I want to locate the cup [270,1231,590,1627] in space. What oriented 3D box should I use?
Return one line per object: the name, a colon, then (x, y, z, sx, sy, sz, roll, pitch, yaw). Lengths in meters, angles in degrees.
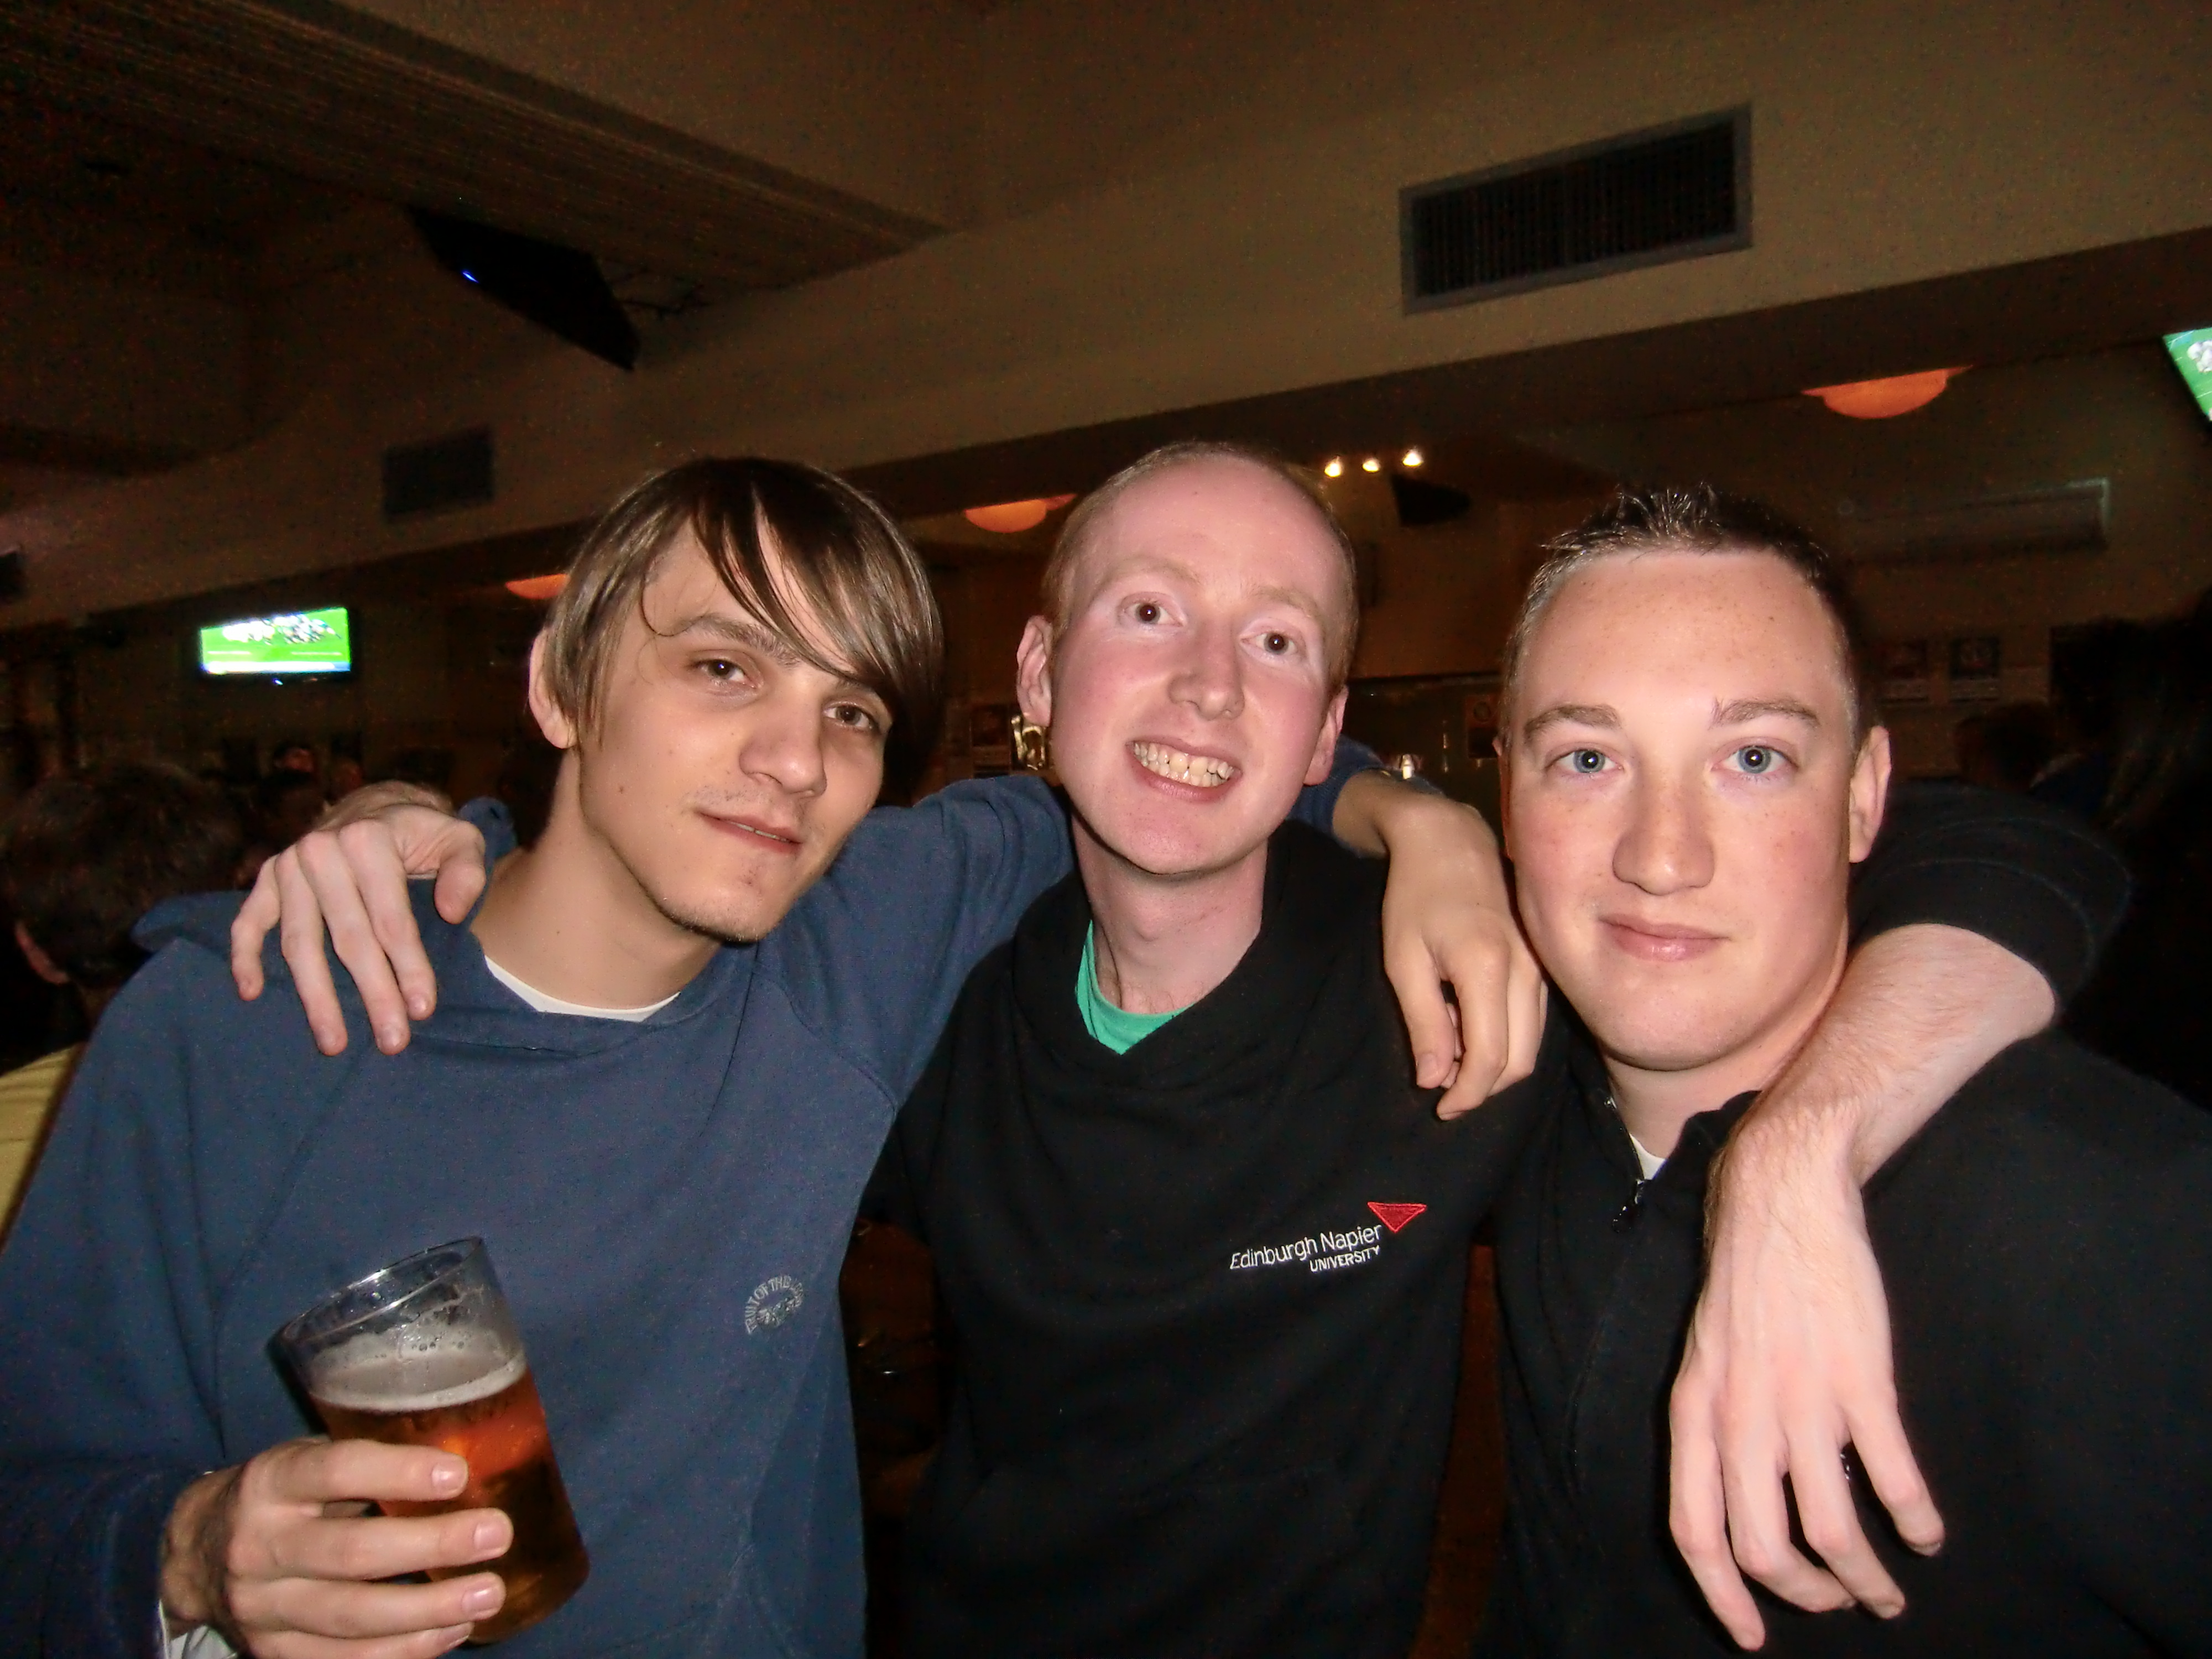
cup: (-0.834, 0.773, 2.134, 0.332, 0.488, 0.169, -3, 6, -27)
